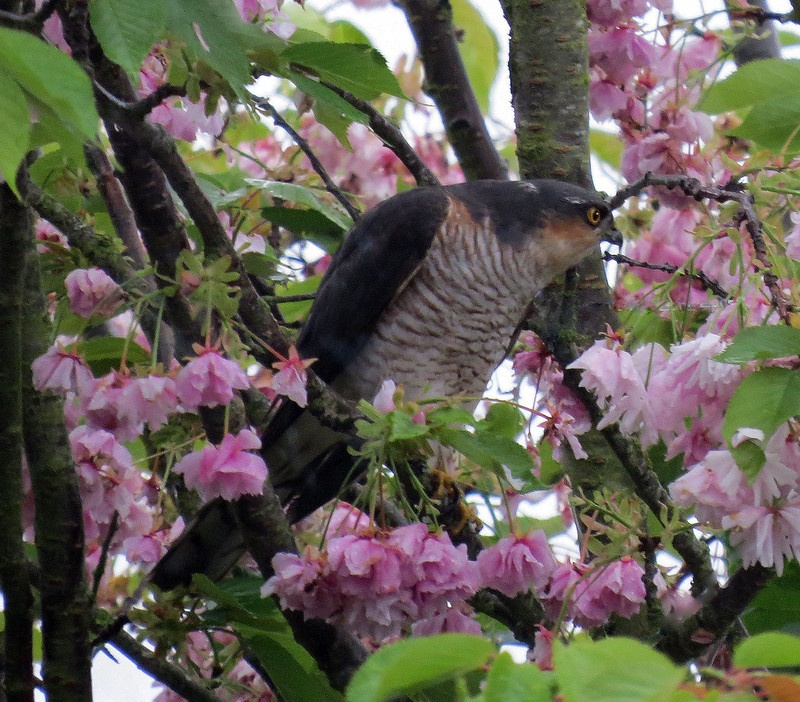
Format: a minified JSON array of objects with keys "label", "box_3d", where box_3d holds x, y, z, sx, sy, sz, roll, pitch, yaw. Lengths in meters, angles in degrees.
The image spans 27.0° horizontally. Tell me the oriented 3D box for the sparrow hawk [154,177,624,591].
[{"label":"sparrow hawk","box_3d":[-0.001,-0.129,4.833,1.368,0.911,0.575,7,9,44]}]
